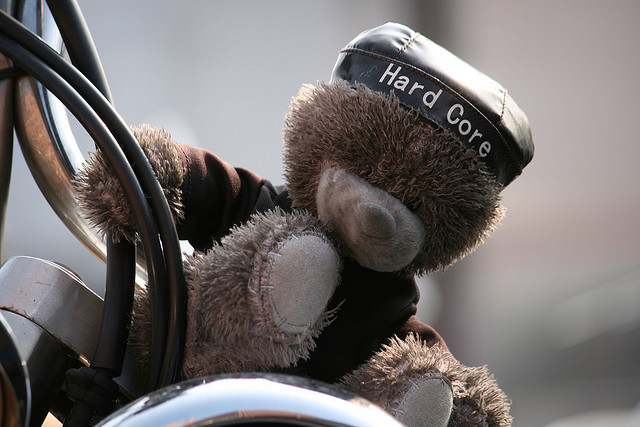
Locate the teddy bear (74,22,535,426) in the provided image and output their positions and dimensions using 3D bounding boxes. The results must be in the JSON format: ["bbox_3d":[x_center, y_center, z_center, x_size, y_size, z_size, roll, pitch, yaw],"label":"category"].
[{"bbox_3d":[0.033,0.011,1.294,0.617,0.574,0.244,28,6,24],"label":"teddy bear"}]
